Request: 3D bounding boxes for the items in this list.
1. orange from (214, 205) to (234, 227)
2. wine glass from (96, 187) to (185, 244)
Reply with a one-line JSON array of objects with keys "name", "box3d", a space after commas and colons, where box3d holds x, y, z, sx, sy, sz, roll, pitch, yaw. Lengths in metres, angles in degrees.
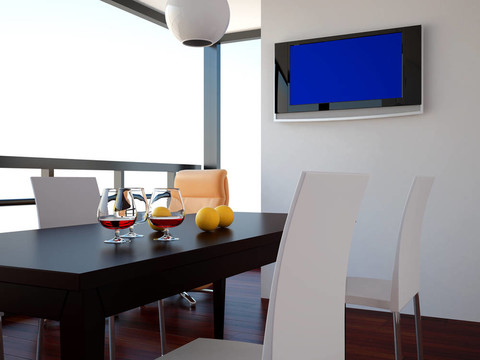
[{"name": "orange", "box3d": [-0.075, 0.172, 1.850, 0.089, 0.091, 0.093, -12, -9, 29]}, {"name": "wine glass", "box3d": [-0.338, 0.120, 1.406, 0.342, 0.217, 0.162, -1, 1, -28]}]
